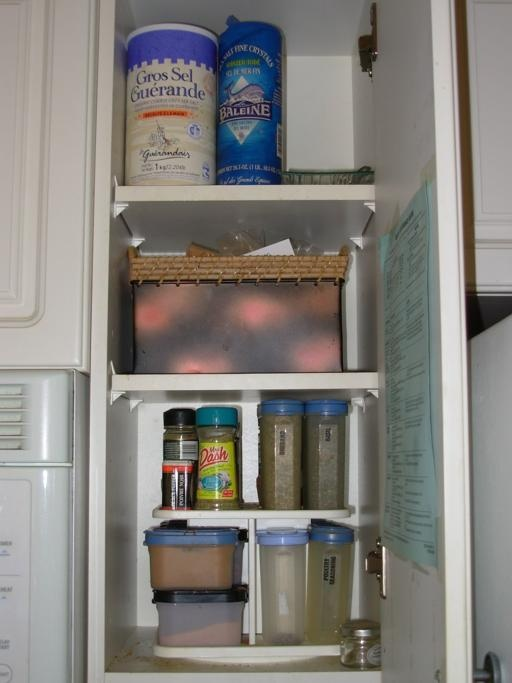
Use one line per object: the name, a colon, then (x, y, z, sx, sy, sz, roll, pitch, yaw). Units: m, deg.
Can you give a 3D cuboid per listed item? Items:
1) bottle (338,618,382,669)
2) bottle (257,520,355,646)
bottle: (0.143, 0.412, 1.017, 0.051, 0.045, 0.051, 10, -16, -40)
bottle: (0.075, 0.357, 1.117, 0.167, 0.168, 0.135, -4, -8, 18)
